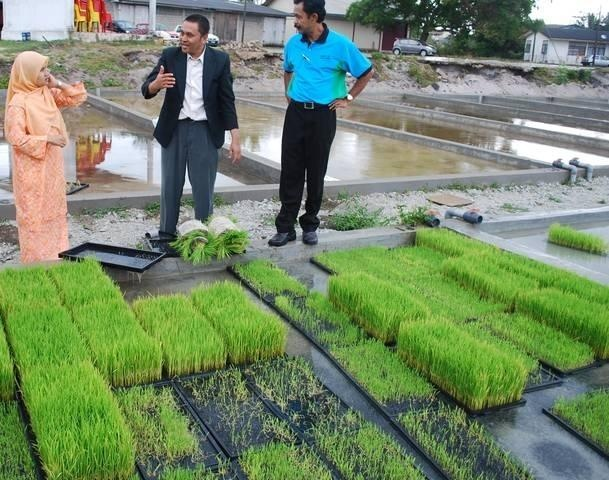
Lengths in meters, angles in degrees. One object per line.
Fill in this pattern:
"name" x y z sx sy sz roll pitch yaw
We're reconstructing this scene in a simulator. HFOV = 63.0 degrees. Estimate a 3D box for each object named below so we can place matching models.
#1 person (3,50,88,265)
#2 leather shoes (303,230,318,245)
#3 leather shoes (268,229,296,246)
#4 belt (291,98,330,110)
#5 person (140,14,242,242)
"person" -2.053 -0.621 3.868 0.448 1.602 0.666 7 16 15
"leather shoes" 0.036 -0.028 4.524 0.104 0.083 0.228 -1 7 -2
"leather shoes" -0.195 -0.024 4.473 0.094 0.115 0.285 9 12 39
"belt" 0.030 -1.151 4.232 0.360 0.070 0.091 9 17 17
"person" -0.948 -0.862 4.210 0.763 1.913 0.725 0 25 -17
